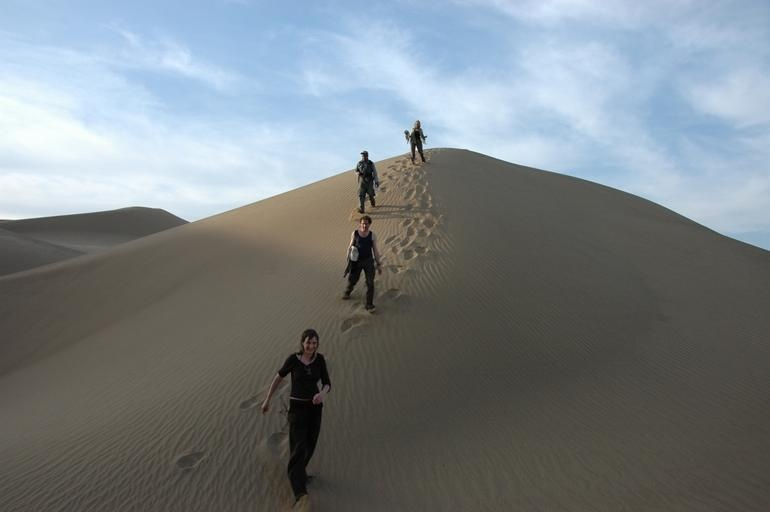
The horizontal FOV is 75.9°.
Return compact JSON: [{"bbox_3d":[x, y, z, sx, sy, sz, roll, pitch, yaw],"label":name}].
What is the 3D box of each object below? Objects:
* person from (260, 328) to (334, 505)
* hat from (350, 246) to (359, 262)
[{"bbox_3d":[-1.532,3.046,9.124,0.942,3.461,0.409,2,2,-8],"label":"person"},{"bbox_3d":[-0.762,-0.071,12.427,0.235,0.380,0.081,2,2,-10],"label":"hat"}]
